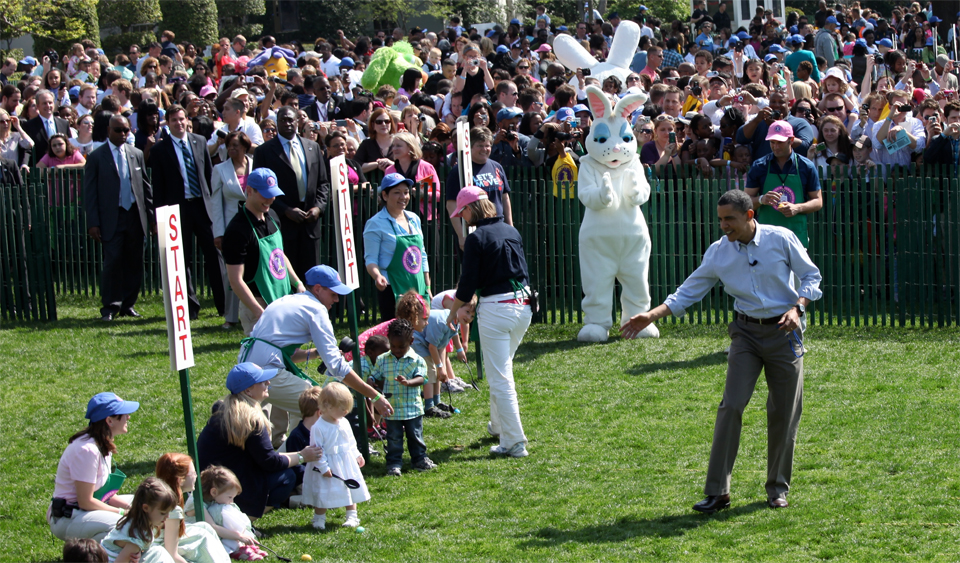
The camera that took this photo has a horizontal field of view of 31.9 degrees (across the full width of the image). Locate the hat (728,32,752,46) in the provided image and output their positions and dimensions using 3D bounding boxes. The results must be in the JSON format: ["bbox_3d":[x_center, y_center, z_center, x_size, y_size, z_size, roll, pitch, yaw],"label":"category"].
[{"bbox_3d":[6.086,-5.668,39.417,0.633,0.359,0.464,1,12,6],"label":"hat"}]

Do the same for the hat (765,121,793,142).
[{"bbox_3d":[4.587,-2.263,25.607,0.288,0.220,0.436,2,14,24],"label":"hat"}]

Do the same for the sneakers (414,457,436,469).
[{"bbox_3d":[-0.792,2.577,23.713,0.281,0.130,0.152,0,21,0],"label":"sneakers"}]

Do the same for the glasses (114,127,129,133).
[{"bbox_3d":[-5.886,-2.473,27.702,0.115,0.060,0.272,-2,1,35],"label":"glasses"}]

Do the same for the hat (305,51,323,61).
[{"bbox_3d":[-3.671,-4.978,37.131,0.438,0.134,0.401,7,1,-31],"label":"hat"}]

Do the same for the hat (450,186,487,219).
[{"bbox_3d":[-0.178,-1.171,23.818,0.487,0.279,0.329,-30,10,18],"label":"hat"}]

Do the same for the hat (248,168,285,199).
[{"bbox_3d":[-3.083,-1.376,23.747,0.516,0.292,0.359,27,32,11],"label":"hat"}]

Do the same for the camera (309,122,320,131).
[{"bbox_3d":[-2.765,-2.557,27.870,0.168,0.178,0.056,2,-11,-17],"label":"camera"}]

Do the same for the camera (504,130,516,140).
[{"bbox_3d":[0.488,-2.430,27.965,0.193,0.103,0.050,-3,1,17],"label":"camera"}]

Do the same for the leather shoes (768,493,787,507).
[{"bbox_3d":[4.001,2.984,22.610,0.247,0.116,0.124,-20,-11,6],"label":"leather shoes"}]

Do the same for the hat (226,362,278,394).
[{"bbox_3d":[-3.075,1.299,22.345,0.546,0.262,0.353,-16,20,-12],"label":"hat"}]

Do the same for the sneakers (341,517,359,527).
[{"bbox_3d":[-1.750,3.258,22.632,0.215,0.118,0.103,-3,1,-6],"label":"sneakers"}]

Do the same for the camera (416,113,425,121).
[{"bbox_3d":[-1.022,-2.818,28.962,0.094,0.078,0.101,-23,15,3],"label":"camera"}]

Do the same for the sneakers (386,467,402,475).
[{"bbox_3d":[-1.218,2.682,23.588,0.207,0.120,0.155,5,15,-5],"label":"sneakers"}]

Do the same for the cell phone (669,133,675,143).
[{"bbox_3d":[3.181,-2.368,27.930,0.115,0.133,0.120,-1,-20,5],"label":"cell phone"}]

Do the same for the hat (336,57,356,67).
[{"bbox_3d":[-2.956,-4.779,36.733,0.344,0.206,0.516,3,6,3],"label":"hat"}]

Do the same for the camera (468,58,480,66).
[{"bbox_3d":[-0.116,-4.181,32.132,0.128,0.102,0.102,-1,27,6],"label":"camera"}]

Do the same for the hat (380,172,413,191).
[{"bbox_3d":[-1.308,-1.436,24.576,0.264,0.185,0.354,-6,-6,-37],"label":"hat"}]
